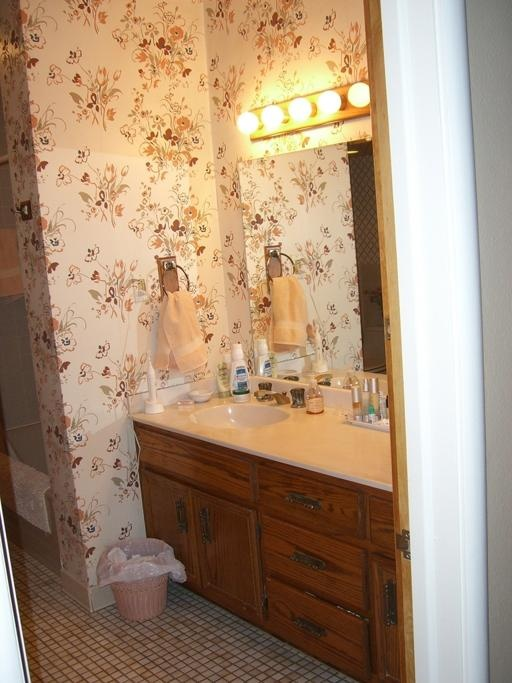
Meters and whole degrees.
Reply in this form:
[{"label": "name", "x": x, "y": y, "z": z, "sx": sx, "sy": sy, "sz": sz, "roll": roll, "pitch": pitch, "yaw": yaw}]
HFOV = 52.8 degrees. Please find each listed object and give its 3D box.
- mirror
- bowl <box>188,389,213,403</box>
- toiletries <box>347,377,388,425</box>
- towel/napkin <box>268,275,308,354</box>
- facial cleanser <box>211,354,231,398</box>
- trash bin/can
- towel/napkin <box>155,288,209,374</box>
[{"label": "mirror", "x": 0.219, "y": -0.373, "z": 2.308, "sx": 0.031, "sy": 1.018, "sz": 0.795, "roll": -9, "pitch": 6, "yaw": -41}, {"label": "bowl", "x": -0.264, "y": 0.280, "z": 2.638, "sx": 0.092, "sy": 0.055, "sz": 0.144, "roll": -1, "pitch": 7, "yaw": 41}, {"label": "toiletries", "x": 0.428, "y": 0.232, "z": 2.014, "sx": 0.158, "sy": 0.166, "sz": 0.255, "roll": -4, "pitch": 5, "yaw": 10}, {"label": "towel/napkin", "x": 0.158, "y": -0.129, "z": 2.418, "sx": 0.101, "sy": 0.315, "sz": 0.224, "roll": -5, "pitch": 4, "yaw": -43}, {"label": "facial cleanser", "x": -0.172, "y": 0.179, "z": 2.687, "sx": 0.090, "sy": 0.238, "sz": 0.067, "roll": -3, "pitch": 17, "yaw": -1}, {"label": "trash bin/can", "x": -0.515, "y": 1.070, "z": 2.337, "sx": 0.303, "sy": 0.277, "sz": 0.314, "roll": -3, "pitch": 9, "yaw": 19}, {"label": "towel/napkin", "x": -0.357, "y": -0.047, "z": 2.530, "sx": 0.196, "sy": 0.398, "sz": 0.252, "roll": 14, "pitch": 26, "yaw": 29}]
